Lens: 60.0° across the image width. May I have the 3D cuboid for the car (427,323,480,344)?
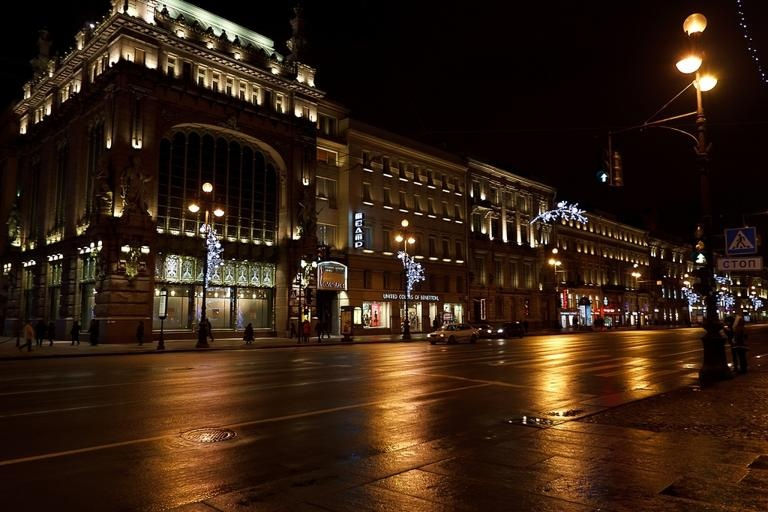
[{"bbox_3d":[4.939,5.699,48.538,3.288,1.101,1.493,7,-11,-32],"label":"car"}]

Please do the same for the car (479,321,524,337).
[{"bbox_3d":[10.018,6.340,57.412,3.890,1.493,1.856,2,-10,-11],"label":"car"}]

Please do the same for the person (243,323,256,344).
[{"bbox_3d":[-9.706,5.452,47.217,0.575,1.529,2.957,2,-10,-14],"label":"person"}]

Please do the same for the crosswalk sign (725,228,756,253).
[{"bbox_3d":[13.828,-0.613,25.661,0.938,0.960,0.123,-2,3,32],"label":"crosswalk sign"}]

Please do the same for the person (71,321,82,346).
[{"bbox_3d":[-20.546,5.055,44.079,0.455,1.517,0.737,6,-10,-30],"label":"person"}]
